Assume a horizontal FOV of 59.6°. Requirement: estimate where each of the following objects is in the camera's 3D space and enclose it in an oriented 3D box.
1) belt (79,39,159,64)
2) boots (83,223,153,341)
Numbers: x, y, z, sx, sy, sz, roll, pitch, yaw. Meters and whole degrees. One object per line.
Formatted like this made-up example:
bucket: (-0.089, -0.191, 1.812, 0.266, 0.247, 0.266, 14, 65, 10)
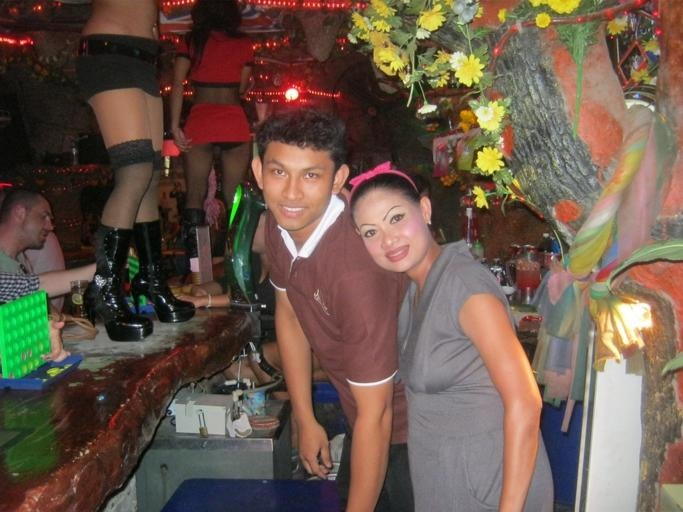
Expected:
belt: (-1.108, -1.047, 3.003, 0.385, 0.112, 0.190, -3, 14, -25)
boots: (-1.090, 0.131, 2.938, 0.303, 0.561, 0.152, 8, 14, 22)
